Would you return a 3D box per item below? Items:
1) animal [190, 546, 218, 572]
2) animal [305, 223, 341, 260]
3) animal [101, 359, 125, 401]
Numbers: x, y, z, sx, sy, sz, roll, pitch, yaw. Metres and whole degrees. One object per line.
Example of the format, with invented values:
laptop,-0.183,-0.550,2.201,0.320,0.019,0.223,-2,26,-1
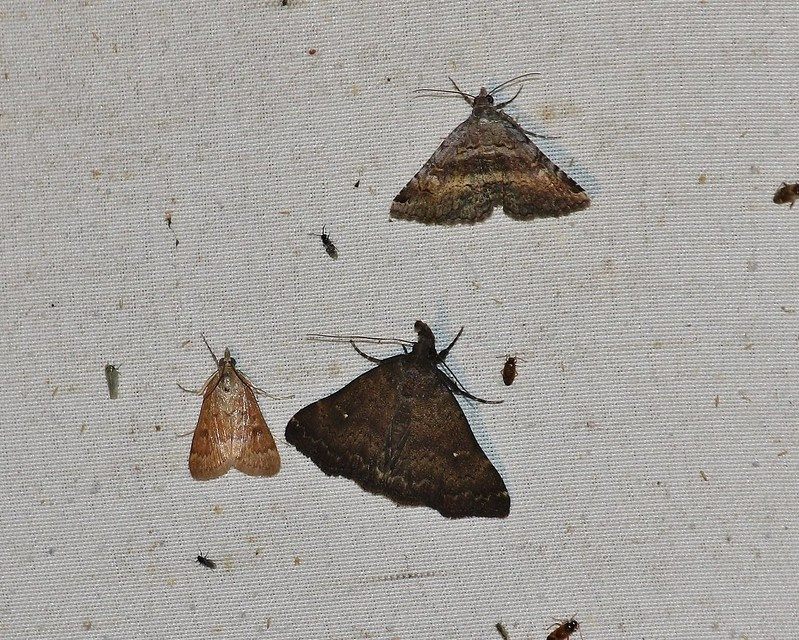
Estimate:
animal,-1.472,1.826,11.688,0.130,0.043,0.146,-44,91,-4
animal,-0.553,-0.618,11.765,0.138,0.058,0.234,-29,81,11
animal,-2.180,0.458,11.777,0.123,0.083,0.303,-1,86,-3
